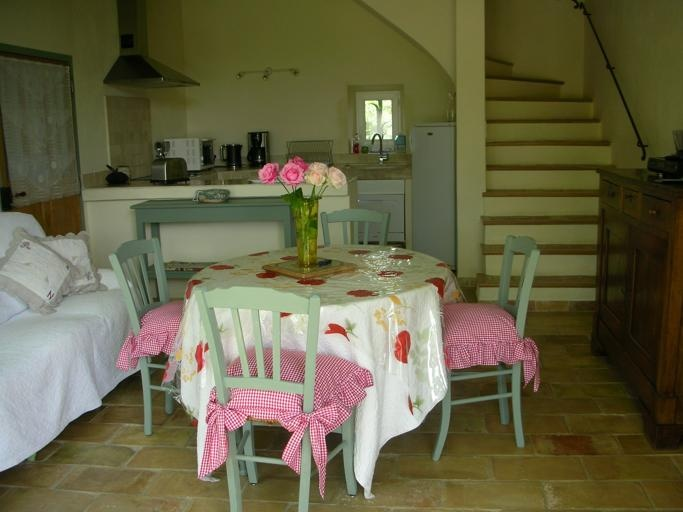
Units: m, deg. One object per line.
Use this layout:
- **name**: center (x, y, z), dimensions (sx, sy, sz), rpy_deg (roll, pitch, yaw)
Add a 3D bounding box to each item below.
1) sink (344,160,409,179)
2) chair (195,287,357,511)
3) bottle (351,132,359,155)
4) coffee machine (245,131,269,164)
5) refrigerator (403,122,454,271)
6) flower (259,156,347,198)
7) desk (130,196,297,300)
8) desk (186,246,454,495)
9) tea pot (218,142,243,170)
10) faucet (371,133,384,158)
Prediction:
- **sink**: center (0.479, -1.068, 6.912), dimensions (0.781, 0.232, 1.102), rpy_deg (-2, 13, 5)
- **chair**: center (-0.265, 0.602, 2.299), dimensions (0.592, 1.094, 0.456), rpy_deg (-2, 14, 6)
- **bottle**: center (0.191, -1.568, 7.530), dimensions (0.121, 0.288, 0.308), rpy_deg (-3, 13, 2)
- **coffee machine**: center (-1.111, -1.436, 7.249), dimensions (0.359, 0.575, 0.428), rpy_deg (0, 5, -1)
- **refrigerator**: center (0.997, -0.713, 5.963), dimensions (0.546, 1.216, 0.547), rpy_deg (1, 6, 23)
- **flower**: center (-0.140, -0.349, 2.744), dimensions (0.348, 0.227, 0.280), rpy_deg (-2, 8, -18)
- **desk**: center (-0.938, -0.111, 4.007), dimensions (0.956, 0.775, 0.332), rpy_deg (0, 8, 5)
- **desk**: center (-0.069, 0.514, 3.098), dimensions (1.464, 0.879, 1.681), rpy_deg (1, 10, 17)
- **tea pot**: center (-1.399, -1.329, 7.234), dimensions (0.412, 0.426, 0.350), rpy_deg (-6, 16, -21)
- **faucet**: center (0.486, -1.500, 7.436), dimensions (0.163, 0.341, 0.478), rpy_deg (-2, 13, 5)
